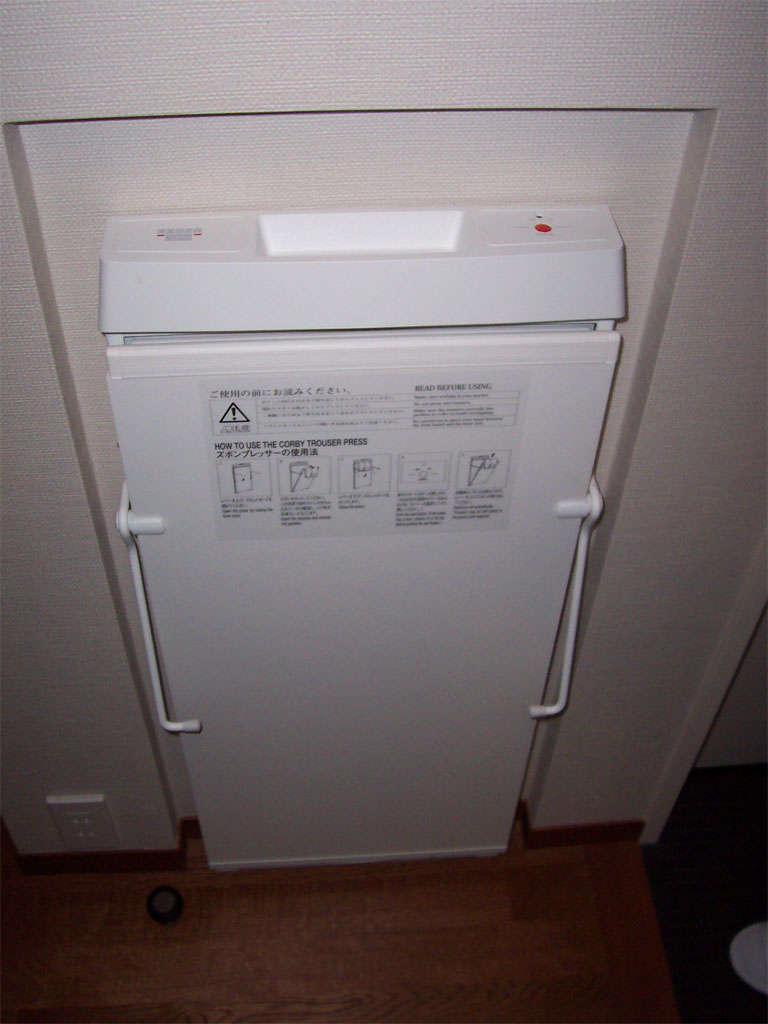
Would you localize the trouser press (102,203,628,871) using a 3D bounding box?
[{"bbox_3d":[-0.047,0.083,1.203,0.609,0.968,0.334,-1,31,-5],"label":"trouser press"}]
